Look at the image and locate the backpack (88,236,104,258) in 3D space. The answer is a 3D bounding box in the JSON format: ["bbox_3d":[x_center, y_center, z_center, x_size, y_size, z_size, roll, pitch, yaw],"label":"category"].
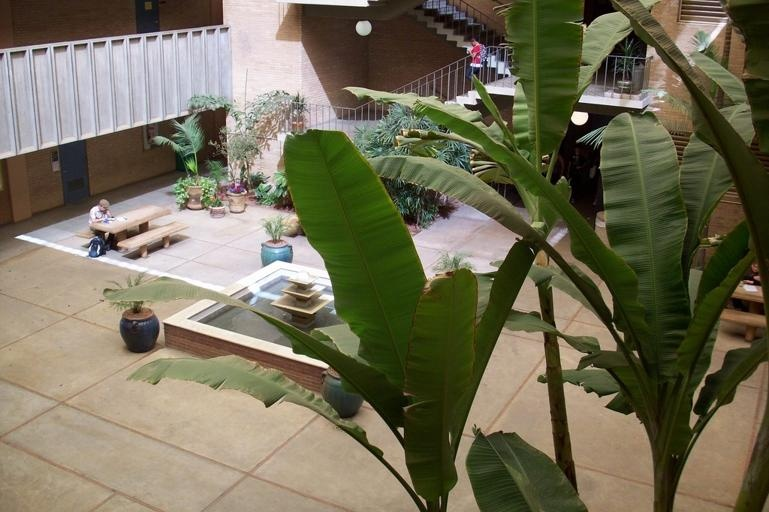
[{"bbox_3d":[-7.891,-0.215,14.204,0.394,0.605,0.216,-1,21,-11],"label":"backpack"}]

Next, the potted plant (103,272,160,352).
[{"bbox_3d":[-4.946,1.350,10.385,0.659,1.069,0.783,-15,27,-29],"label":"potted plant"}]

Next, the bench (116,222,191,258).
[{"bbox_3d":[-6.675,-0.437,14.879,0.833,0.532,1.820,11,26,27],"label":"bench"}]

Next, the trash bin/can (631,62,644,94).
[{"bbox_3d":[7.387,-5.133,15.076,0.341,0.791,0.365,7,25,19],"label":"trash bin/can"}]
